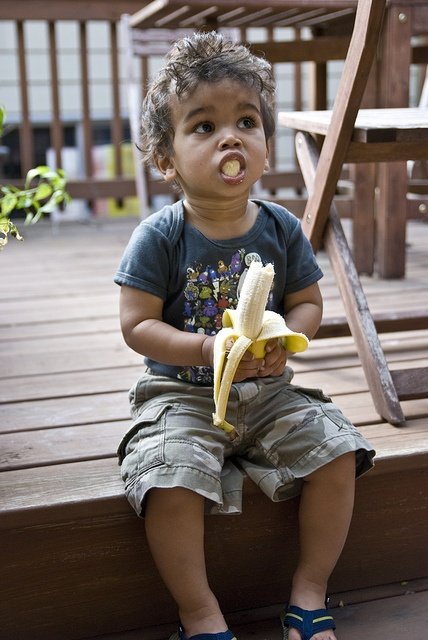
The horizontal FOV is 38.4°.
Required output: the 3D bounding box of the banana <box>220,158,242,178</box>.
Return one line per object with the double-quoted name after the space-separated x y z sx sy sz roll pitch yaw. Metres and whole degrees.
0.022 -0.198 0.802 0.025 0.023 0.009 -2 15 -7 "banana"
